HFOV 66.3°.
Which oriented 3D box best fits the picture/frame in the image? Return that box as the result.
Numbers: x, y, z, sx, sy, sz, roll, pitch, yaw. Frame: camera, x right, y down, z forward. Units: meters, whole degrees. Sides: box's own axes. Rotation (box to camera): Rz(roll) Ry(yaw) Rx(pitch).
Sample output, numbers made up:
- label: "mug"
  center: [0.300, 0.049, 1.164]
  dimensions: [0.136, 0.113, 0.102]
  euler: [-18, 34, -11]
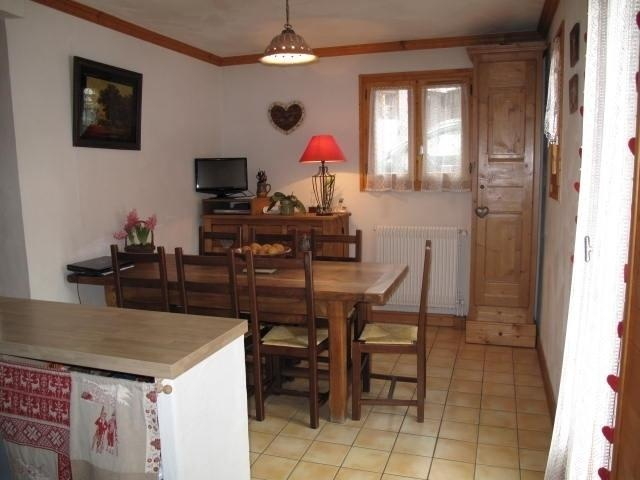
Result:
- label: "picture/frame"
  center: [-1.778, -1.110, 4.147]
  dimensions: [0.658, 0.698, 0.053]
  euler: [10, 12, 10]

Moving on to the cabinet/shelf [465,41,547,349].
- label: "cabinet/shelf"
  center: [1.802, -0.431, 4.823]
  dimensions: [0.793, 2.825, 0.709]
  euler: [1, 0, 34]

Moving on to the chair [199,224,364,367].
- label: "chair"
  center: [-0.305, 0.394, 4.418]
  dimensions: [0.900, 0.946, 0.515]
  euler: [1, 9, 6]

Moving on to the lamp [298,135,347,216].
- label: "lamp"
  center: [0.036, -0.713, 5.234]
  dimensions: [0.447, 0.830, 0.563]
  euler: [0, 10, 3]

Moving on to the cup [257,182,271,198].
- label: "cup"
  center: [-0.630, -0.555, 5.544]
  dimensions: [0.119, 0.188, 0.194]
  euler: [3, 1, 35]

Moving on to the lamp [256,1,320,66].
- label: "lamp"
  center: [-0.250, -1.389, 3.547]
  dimensions: [0.447, 0.531, 0.437]
  euler: [6, 12, 36]

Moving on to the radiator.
- label: "radiator"
  center: [1.033, 0.318, 5.199]
  dimensions: [0.916, 0.917, 0.130]
  euler: [4, -16, 6]

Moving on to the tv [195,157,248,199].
- label: "tv"
  center: [-1.082, -0.690, 5.356]
  dimensions: [0.408, 0.340, 0.113]
  euler: [-1, 14, -12]

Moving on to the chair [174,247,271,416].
- label: "chair"
  center: [-0.722, 0.598, 3.502]
  dimensions: [0.533, 1.211, 0.736]
  euler: [-4, 11, -18]

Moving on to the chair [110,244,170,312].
- label: "chair"
  center: [-1.279, 0.288, 3.470]
  dimensions: [0.345, 0.685, 0.411]
  euler: [1, 11, -4]
